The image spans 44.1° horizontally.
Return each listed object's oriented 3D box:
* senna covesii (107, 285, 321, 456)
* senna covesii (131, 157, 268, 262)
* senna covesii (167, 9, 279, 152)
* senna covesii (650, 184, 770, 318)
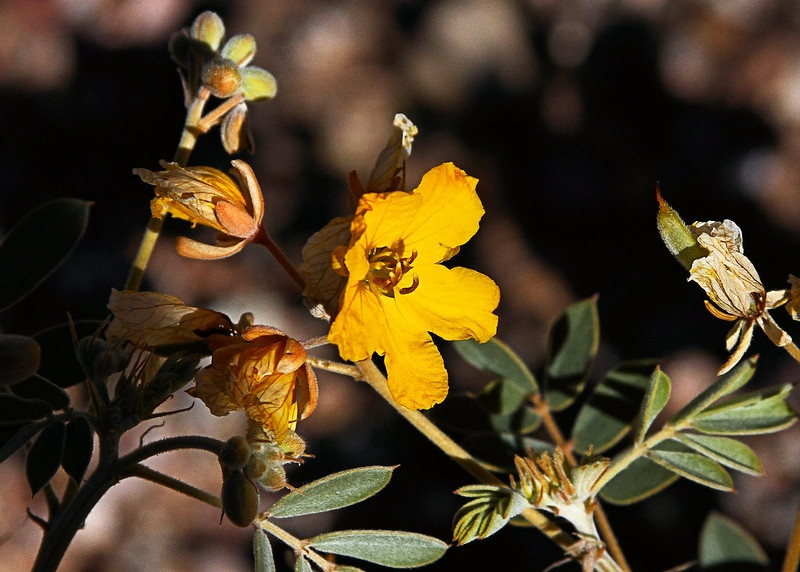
[{"bbox_3d":[-0.736,0.303,3.765,0.732,0.541,0.310,24,-14,-17],"label":"senna covesii"},{"bbox_3d":[-0.772,-0.298,3.818,0.471,0.371,0.239,0,2,-10],"label":"senna covesii"},{"bbox_3d":[-0.668,-0.864,4.111,0.493,0.508,0.216,37,26,6],"label":"senna covesii"},{"bbox_3d":[1.145,-0.077,3.765,0.295,0.569,0.204,-34,-9,-33],"label":"senna covesii"}]
